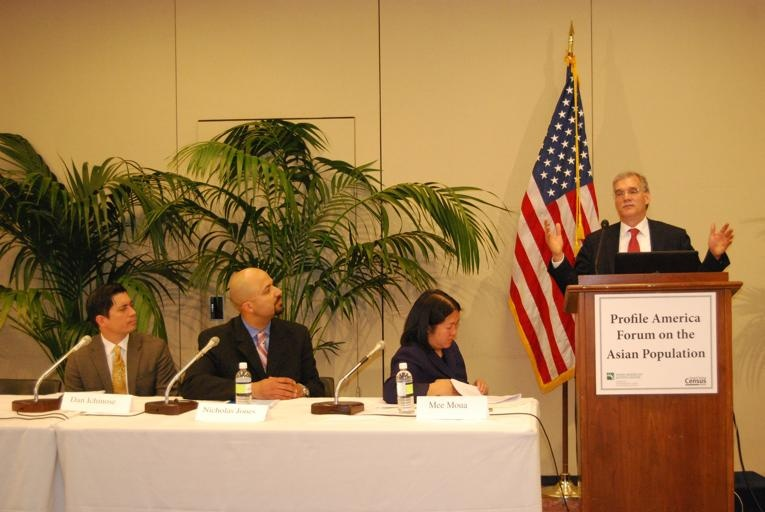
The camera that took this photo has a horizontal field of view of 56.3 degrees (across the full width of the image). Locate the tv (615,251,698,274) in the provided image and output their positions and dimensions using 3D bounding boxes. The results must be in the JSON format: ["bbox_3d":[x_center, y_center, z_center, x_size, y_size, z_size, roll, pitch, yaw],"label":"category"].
[{"bbox_3d":[1.550,0.041,4.053,0.463,0.141,0.108,-1,-8,-2],"label":"tv"}]

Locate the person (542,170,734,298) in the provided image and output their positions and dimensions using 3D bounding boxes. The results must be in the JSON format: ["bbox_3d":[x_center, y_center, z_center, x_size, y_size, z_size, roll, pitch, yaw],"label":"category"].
[{"bbox_3d":[1.790,-0.144,5.079,0.696,1.113,0.402,-9,-37,14],"label":"person"}]

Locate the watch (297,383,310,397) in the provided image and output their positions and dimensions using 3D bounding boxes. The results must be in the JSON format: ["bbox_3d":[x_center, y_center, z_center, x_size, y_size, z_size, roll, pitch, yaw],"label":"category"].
[{"bbox_3d":[-0.509,0.891,4.698,0.068,0.057,0.087,24,-2,-33],"label":"watch"}]

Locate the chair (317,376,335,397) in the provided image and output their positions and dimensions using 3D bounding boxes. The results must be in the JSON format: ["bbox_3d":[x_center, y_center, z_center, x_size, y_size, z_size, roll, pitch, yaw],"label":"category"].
[{"bbox_3d":[-0.388,0.951,5.167,0.107,0.169,0.126,4,-9,-20],"label":"chair"}]

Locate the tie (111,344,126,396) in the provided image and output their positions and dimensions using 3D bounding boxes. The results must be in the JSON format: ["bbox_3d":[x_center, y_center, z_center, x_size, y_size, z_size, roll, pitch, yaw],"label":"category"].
[{"bbox_3d":[-1.818,0.793,4.990,0.113,0.326,0.051,1,-7,-18],"label":"tie"}]
